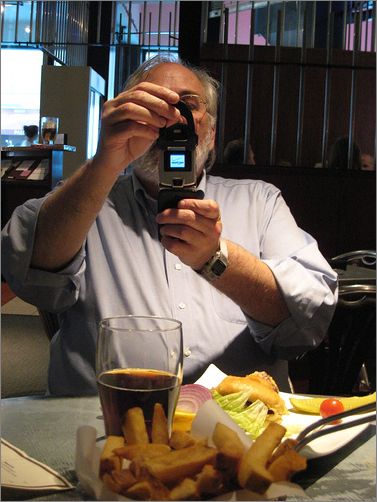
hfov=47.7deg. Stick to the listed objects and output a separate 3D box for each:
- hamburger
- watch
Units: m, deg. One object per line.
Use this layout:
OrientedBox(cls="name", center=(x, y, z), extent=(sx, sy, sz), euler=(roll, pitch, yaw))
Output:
OrientedBox(cls="hamburger", center=(0.096, 0.197, 0.587), extent=(0.063, 0.020, 0.054), euler=(6, 12, 13))
OrientedBox(cls="watch", center=(0.057, 0.021, 0.883), extent=(0.054, 0.084, 0.073), euler=(28, 6, -45))
